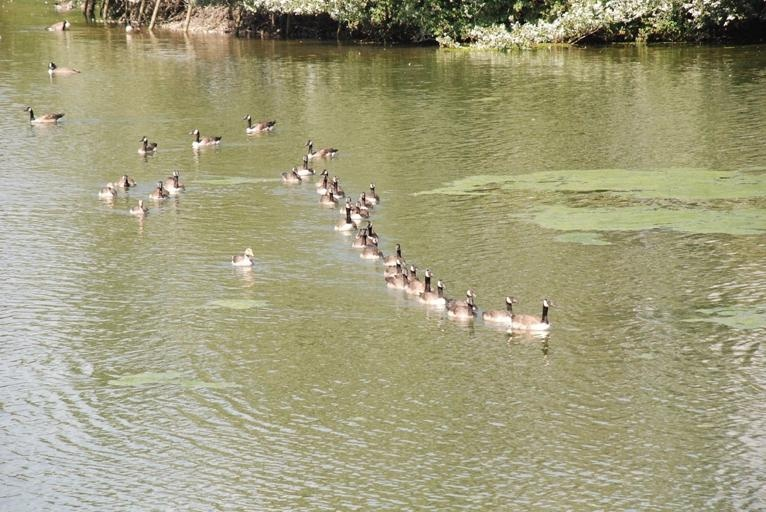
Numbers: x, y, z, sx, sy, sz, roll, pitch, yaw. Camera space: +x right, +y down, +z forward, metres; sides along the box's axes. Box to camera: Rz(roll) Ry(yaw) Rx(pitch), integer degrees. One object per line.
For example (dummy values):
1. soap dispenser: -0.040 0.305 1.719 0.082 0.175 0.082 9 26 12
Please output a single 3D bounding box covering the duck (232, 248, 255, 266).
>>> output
1. duck: -4.751 0.106 34.409 0.601 0.473 0.939 -2 4 -45
